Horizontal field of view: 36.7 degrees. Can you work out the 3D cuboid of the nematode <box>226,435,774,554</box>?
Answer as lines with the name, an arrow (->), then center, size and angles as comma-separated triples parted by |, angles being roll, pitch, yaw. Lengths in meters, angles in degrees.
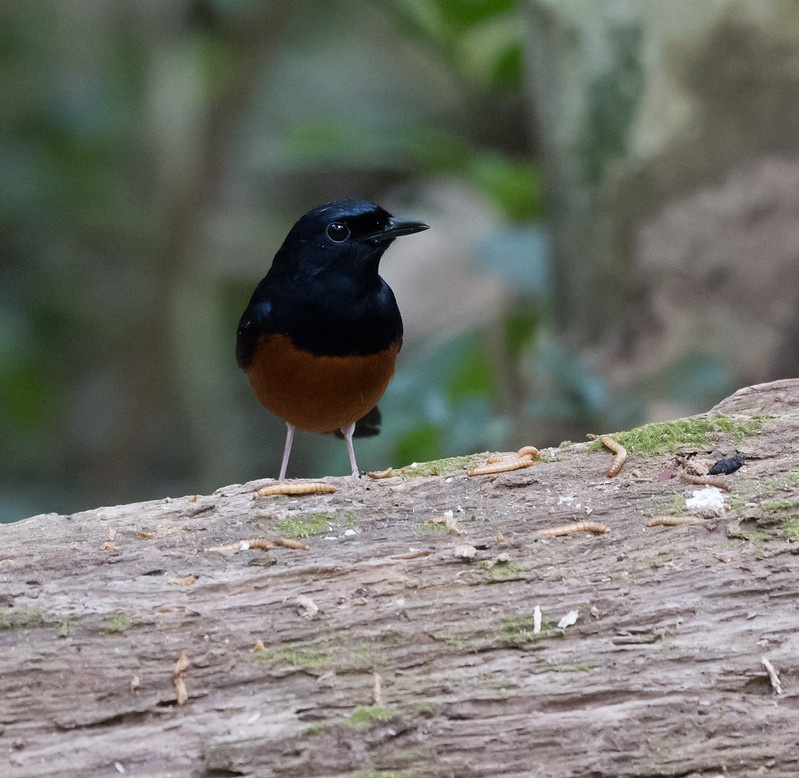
nematode -> 0.438, 0.409, 4.588 | 1.264, 0.190, 1.145 | -8, 9, -32

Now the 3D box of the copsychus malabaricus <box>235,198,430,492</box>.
copsychus malabaricus -> -0.334, -0.205, 5.617 | 0.875, 1.432, 0.960 | 0, 79, -9
